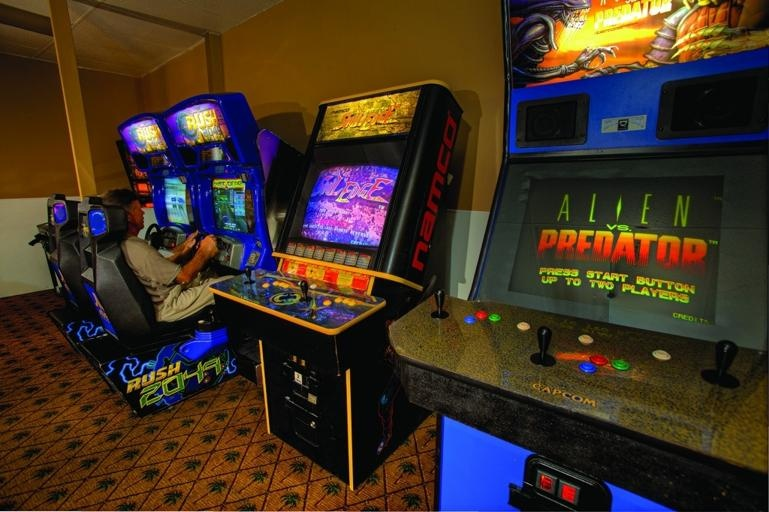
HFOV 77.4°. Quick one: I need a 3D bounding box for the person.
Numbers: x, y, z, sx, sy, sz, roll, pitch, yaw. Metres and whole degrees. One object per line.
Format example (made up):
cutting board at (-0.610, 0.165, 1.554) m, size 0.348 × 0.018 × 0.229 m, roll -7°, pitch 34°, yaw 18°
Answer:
person at (-1.648, -0.017, 3.760) m, size 0.693 × 1.029 × 0.869 m, roll 4°, pitch 22°, yaw 41°
